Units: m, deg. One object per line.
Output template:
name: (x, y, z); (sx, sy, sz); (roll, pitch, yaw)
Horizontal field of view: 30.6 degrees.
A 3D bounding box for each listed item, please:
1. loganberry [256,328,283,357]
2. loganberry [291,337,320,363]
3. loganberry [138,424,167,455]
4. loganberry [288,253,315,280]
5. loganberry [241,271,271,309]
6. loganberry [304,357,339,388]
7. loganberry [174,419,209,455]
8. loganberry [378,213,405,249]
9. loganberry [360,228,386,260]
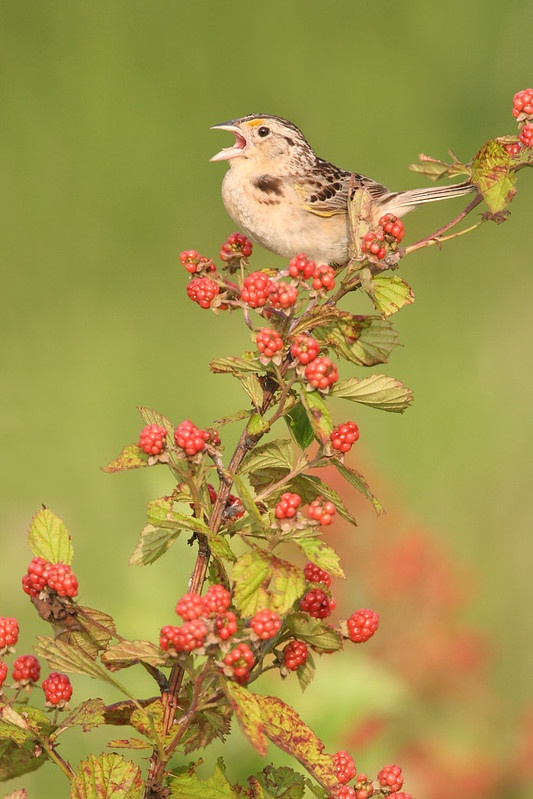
loganberry: (0.005, -0.160, 2.672); (0.064, 0.081, 0.047); (-6, -7, -7)
loganberry: (0.106, -0.139, 2.648); (0.062, 0.080, 0.053); (3, -6, 29)
loganberry: (-0.324, 0.105, 2.765); (0.067, 0.089, 0.067); (-2, 7, 7)
loganberry: (0.097, -0.367, 2.700); (0.083, 0.098, 0.057); (-2, 10, 7)
loganberry: (-0.032, -0.305, 2.696); (0.072, 0.098, 0.053); (3, -13, 7)
loganberry: (0.140, -0.067, 2.608); (0.067, 0.092, 0.070); (-1, -10, 11)
loganberry: (-0.212, 0.099, 2.677); (0.076, 0.097, 0.071); (-11, -41, -11)
loganberry: (0.358, -0.487, 2.786); (0.064, 0.088, 0.048); (-7, 3, 28)
loganberry: (0.308, -0.455, 2.783); (0.045, 0.086, 0.064); (-4, -9, -45)
